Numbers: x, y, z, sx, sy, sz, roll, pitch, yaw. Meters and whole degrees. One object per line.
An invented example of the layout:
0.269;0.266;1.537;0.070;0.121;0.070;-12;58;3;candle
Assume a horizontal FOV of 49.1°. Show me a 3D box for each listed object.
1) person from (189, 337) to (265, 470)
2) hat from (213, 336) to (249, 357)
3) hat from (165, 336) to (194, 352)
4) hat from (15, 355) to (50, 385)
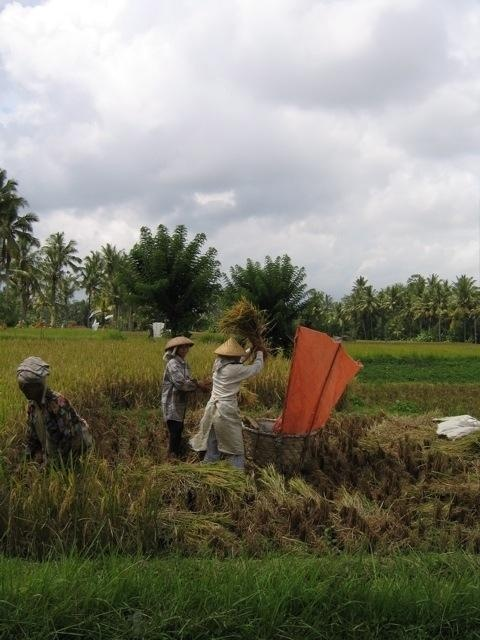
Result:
-0.148;0.833;5.436;0.597;1.326;0.392;4;0;31;person
-0.106;0.299;5.408;0.237;0.119;0.240;13;3;36;hat
-1.004;0.385;8.603;0.431;0.150;0.402;6;-22;-23;hat
-1.486;0.369;3.803;0.210;0.194;0.222;0;-6;-6;hat
